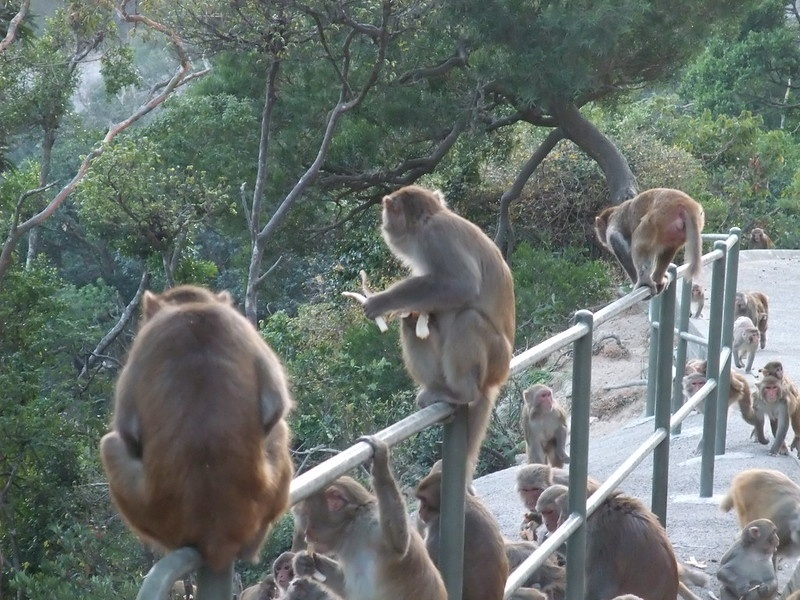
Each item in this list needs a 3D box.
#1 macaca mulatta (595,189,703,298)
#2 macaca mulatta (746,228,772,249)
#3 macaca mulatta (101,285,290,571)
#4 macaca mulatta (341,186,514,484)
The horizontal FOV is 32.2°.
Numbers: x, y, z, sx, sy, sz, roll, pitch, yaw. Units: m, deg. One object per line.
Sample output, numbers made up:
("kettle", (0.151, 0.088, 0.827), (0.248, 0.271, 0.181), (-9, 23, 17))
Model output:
("macaca mulatta", (3.589, -0.894, 19.988), (1.512, 1.379, 1.170), (-9, 1, 25))
("macaca mulatta", (8.465, -1.422, 32.637), (0.323, 0.487, 1.125), (-3, 0, 23))
("macaca mulatta", (-2.408, 1.637, 17.522), (2.017, 3.299, 2.782), (2, 10, 9))
("macaca mulatta", (0.390, 0.527, 18.619), (2.410, 3.902, 1.860), (-5, 11, -38))
